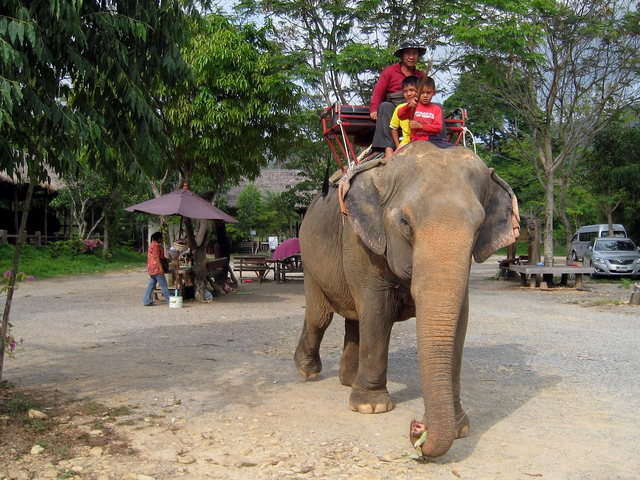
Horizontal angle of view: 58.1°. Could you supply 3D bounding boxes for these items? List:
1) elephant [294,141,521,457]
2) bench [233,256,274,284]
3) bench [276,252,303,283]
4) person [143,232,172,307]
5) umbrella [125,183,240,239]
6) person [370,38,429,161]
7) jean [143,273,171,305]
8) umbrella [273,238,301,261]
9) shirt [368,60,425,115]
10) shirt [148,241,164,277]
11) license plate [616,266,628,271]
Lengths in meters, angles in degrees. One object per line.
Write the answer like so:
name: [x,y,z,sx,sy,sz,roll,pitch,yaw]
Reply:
elephant: [0.801,0.480,6.337,1.476,2.930,3.333,0,2,-20]
bench: [-2.461,1.401,21.774,1.362,0.705,1.241,1,10,6]
bench: [-1.195,1.058,21.902,1.198,1.195,0.735,0,-3,-12]
person: [-4.131,0.720,14.572,0.663,1.818,1.113,0,2,-17]
umbrella: [-3.357,-0.878,13.814,2.357,0.769,1.580,0,2,-19]
person: [0.975,-1.647,6.987,0.648,1.469,0.769,4,10,2]
jean: [-4.158,1.209,14.633,0.638,0.782,0.767,0,2,-17]
umbrella: [-1.204,0.471,20.438,0.890,0.329,0.876,-21,5,-42]
shirt: [1.015,-1.902,7.149,0.793,0.633,0.378,2,20,-1]
shirt: [-4.064,0.455,14.297,0.362,0.844,0.312,0,2,-15]
license plate: [12.229,1.160,23.372,0.416,0.187,0.056,1,2,13]
